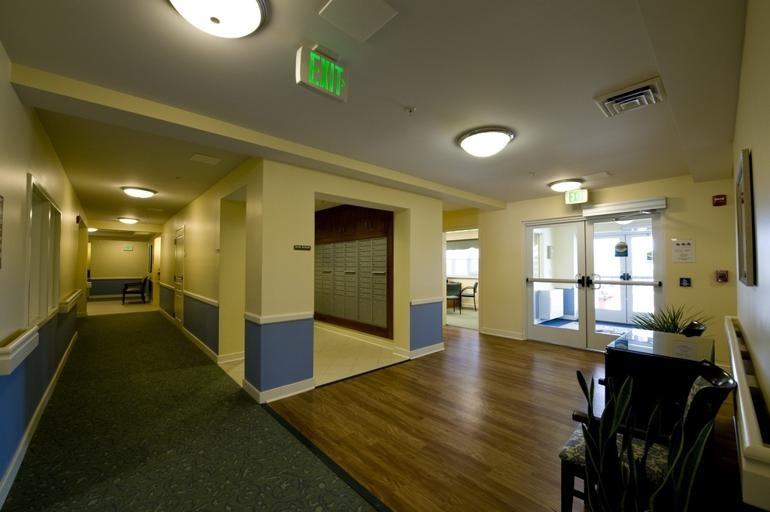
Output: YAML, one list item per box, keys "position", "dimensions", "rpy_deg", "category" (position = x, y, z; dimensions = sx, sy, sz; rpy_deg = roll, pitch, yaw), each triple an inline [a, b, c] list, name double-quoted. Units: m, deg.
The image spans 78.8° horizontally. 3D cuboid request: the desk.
- position: [2.330, 1.249, 4.313]
  dimensions: [0.593, 0.463, 0.587]
  rpy_deg: [4, 25, 28]
  category: "desk"
